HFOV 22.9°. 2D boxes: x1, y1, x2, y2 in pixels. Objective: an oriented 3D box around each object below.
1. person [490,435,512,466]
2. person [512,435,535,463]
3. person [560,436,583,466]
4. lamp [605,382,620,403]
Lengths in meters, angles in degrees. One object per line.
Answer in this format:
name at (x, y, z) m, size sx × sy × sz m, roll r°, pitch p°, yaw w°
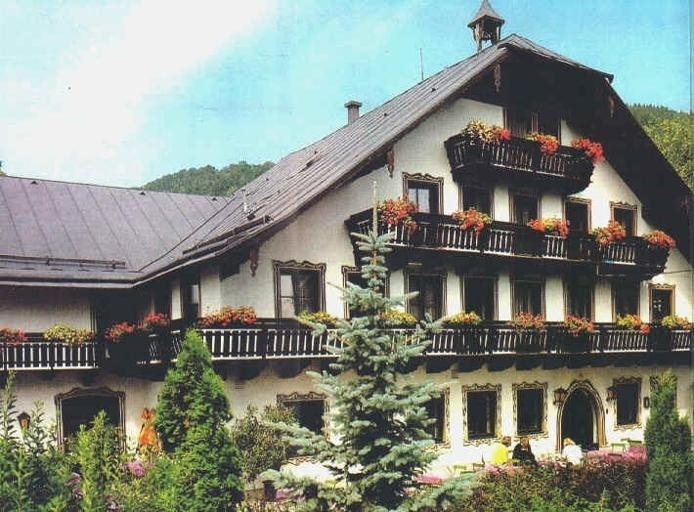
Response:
person at (5.888, 7.368, 64.556) m, size 0.672 × 1.146 × 1.105 m, roll 7°, pitch -4°, yaw -14°
person at (6.522, 7.271, 63.608) m, size 0.774 × 1.293 × 0.870 m, roll 11°, pitch -18°, yaw -39°
person at (8.467, 7.284, 63.760) m, size 0.753 × 1.041 × 1.091 m, roll -3°, pitch -13°, yaw 7°
lamp at (11.086, 5.636, 70.901) m, size 0.160 × 0.785 × 0.693 m, roll -13°, pitch -18°, yaw 42°
